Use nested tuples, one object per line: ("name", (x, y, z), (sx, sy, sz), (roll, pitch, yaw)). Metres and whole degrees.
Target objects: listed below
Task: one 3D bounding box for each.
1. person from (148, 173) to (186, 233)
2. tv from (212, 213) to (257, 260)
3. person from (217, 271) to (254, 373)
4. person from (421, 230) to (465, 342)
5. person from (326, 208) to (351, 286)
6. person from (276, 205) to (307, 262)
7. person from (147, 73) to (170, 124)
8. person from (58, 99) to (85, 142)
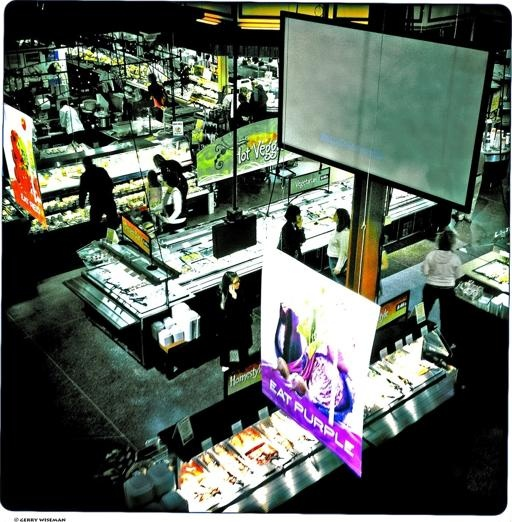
("person", (-1.371, -0.903, 7.267), (0.284, 0.959, 0.341), (-6, 68, -3))
("tv", (-0.286, -0.315, 6.511), (0.498, 0.493, 0.121), (-24, 44, -23))
("person", (-0.245, 0.768, 5.623), (0.388, 1.330, 0.384), (-5, 22, -5))
("person", (2.568, 0.272, 6.610), (0.511, 1.781, 0.547), (10, 42, 26))
("person", (1.112, -0.159, 6.369), (0.270, 1.199, 0.499), (2, 41, 7))
("person", (0.483, -0.361, 6.455), (0.275, 0.824, 0.298), (-9, 57, 1))
("person", (-2.352, -3.918, 11.490), (0.436, 1.476, 0.376), (-5, 64, -9))
("person", (-3.990, -2.975, 10.342), (0.462, 0.723, 0.858), (-14, 30, -21))
